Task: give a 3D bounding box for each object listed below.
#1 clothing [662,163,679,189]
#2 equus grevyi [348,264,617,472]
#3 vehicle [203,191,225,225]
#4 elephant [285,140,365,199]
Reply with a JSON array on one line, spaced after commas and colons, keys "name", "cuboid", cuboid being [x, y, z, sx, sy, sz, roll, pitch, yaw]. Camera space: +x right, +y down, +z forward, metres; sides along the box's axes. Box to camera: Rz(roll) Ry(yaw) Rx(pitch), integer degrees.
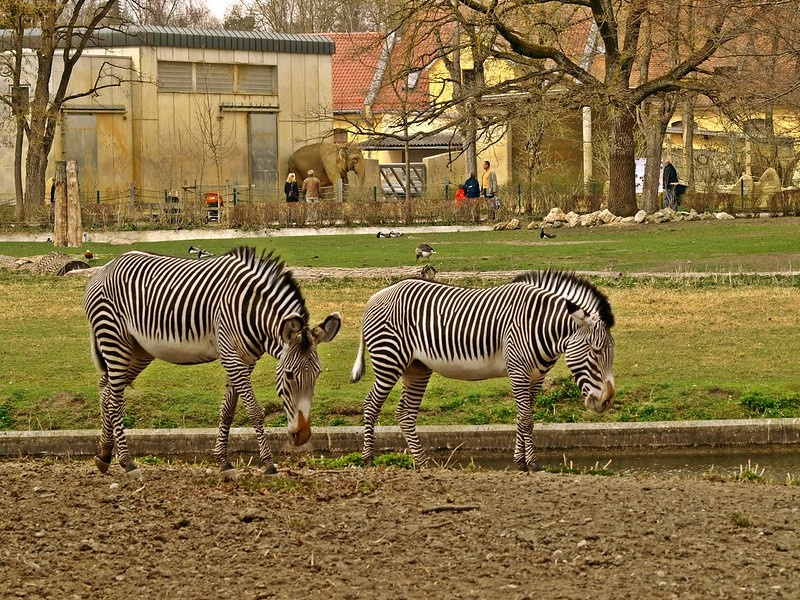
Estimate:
[{"name": "clothing", "cuboid": [9.415, -4.283, 63.491, 0.649, 1.174, 1.170, 0, 4, 20]}, {"name": "equus grevyi", "cuboid": [1.496, 1.335, 34.315, 5.081, 3.824, 1.420, 1, 1, 22]}, {"name": "vehicle", "cuboid": [-6.940, -3.447, 67.379, 0.758, 0.692, 1.333, 0, 12, -2]}, {"name": "elephant", "cuboid": [-3.146, -5.380, 75.728, 3.333, 2.446, 1.450, -2, 19, 10]}]
